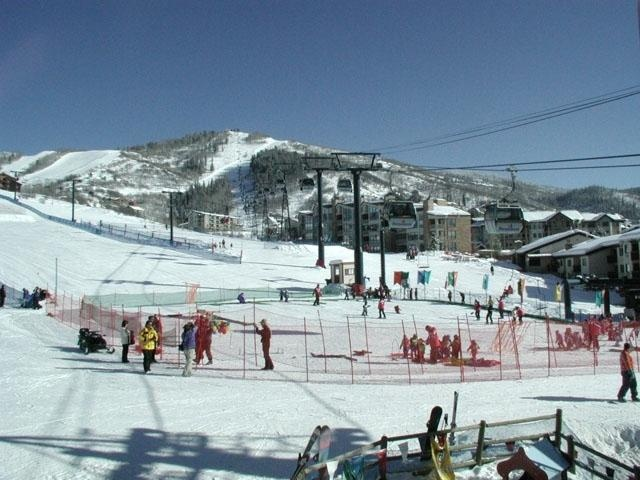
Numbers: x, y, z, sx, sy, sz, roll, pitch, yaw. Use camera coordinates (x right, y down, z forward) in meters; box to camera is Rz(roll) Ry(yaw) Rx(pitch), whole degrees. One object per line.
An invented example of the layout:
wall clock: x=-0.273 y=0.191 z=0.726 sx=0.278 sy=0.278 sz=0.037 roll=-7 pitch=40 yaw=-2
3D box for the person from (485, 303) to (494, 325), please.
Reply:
person: x=9.328 y=4.011 z=39.181 sx=0.337 sy=1.237 sz=1.835 roll=0 pitch=-6 yaw=13

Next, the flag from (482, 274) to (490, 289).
flag: x=13.280 y=3.329 z=56.809 sx=0.909 sy=0.480 sz=3.239 roll=2 pitch=5 yaw=12

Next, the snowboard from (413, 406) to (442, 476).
snowboard: x=2.310 y=4.259 z=15.168 sx=0.383 sy=1.925 sz=0.227 roll=11 pitch=-4 yaw=33

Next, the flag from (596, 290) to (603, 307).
flag: x=18.522 y=3.931 z=47.141 sx=0.246 sy=1.053 sz=3.939 roll=-1 pitch=-6 yaw=24

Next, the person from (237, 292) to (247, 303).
person: x=-4.575 y=3.379 z=40.969 sx=0.452 sy=0.866 sz=0.614 roll=-2 pitch=4 yaw=-7

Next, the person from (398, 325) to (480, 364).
person: x=4.232 y=4.023 z=26.325 sx=1.993 sy=0.853 sz=1.542 roll=-1 pitch=-1 yaw=1

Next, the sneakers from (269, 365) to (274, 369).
sneakers: x=-1.668 y=4.348 z=24.212 sx=0.155 sy=0.171 sz=0.122 roll=1 pitch=4 yaw=8

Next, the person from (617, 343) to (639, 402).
person: x=9.084 y=3.847 z=20.964 sx=0.582 sy=1.638 sz=2.714 roll=-1 pitch=-6 yaw=23

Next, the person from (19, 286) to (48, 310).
person: x=-15.777 y=3.218 z=38.957 sx=0.991 sy=1.537 sz=2.554 roll=0 pitch=-7 yaw=-14

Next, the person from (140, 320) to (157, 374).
person: x=-5.585 y=3.396 z=22.877 sx=0.507 sy=1.713 sz=1.646 roll=2 pitch=-5 yaw=-14

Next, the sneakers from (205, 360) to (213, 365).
sneakers: x=-3.932 y=4.292 z=24.867 sx=0.200 sy=0.149 sz=0.143 roll=-3 pitch=1 yaw=-1

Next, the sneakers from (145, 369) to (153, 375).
sneakers: x=-5.457 y=4.158 z=22.356 sx=0.148 sy=0.141 sz=0.134 roll=-4 pitch=-3 yaw=11
